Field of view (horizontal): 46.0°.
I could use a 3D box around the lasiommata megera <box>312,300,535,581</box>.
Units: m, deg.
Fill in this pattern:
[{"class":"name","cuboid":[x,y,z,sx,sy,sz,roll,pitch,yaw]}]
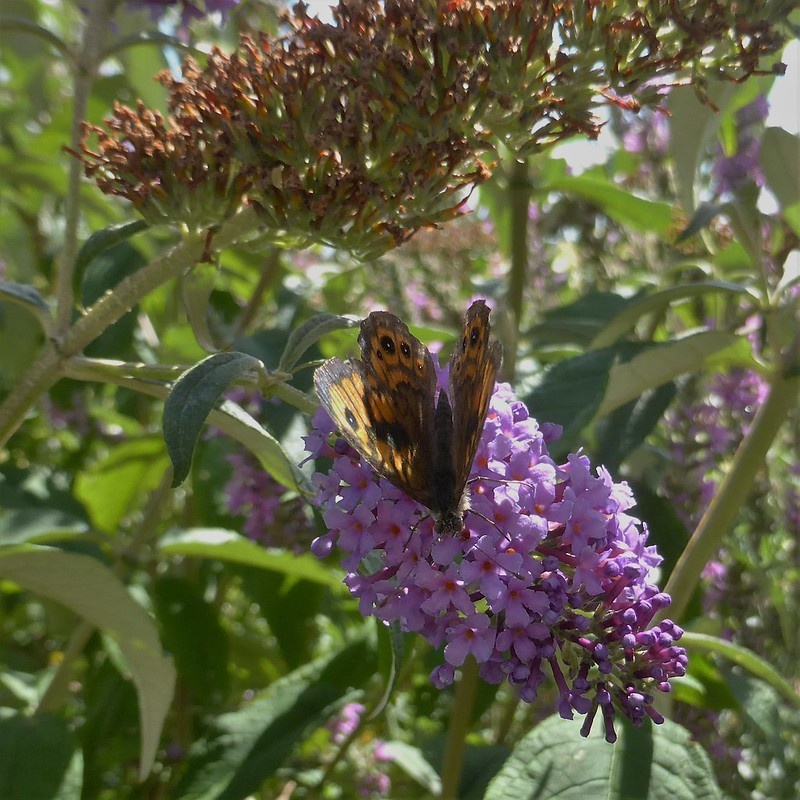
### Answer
[{"class":"lasiommata megera","cuboid":[0.044,0.040,1.613,0.275,0.362,0.463,7,-20,-5]}]
